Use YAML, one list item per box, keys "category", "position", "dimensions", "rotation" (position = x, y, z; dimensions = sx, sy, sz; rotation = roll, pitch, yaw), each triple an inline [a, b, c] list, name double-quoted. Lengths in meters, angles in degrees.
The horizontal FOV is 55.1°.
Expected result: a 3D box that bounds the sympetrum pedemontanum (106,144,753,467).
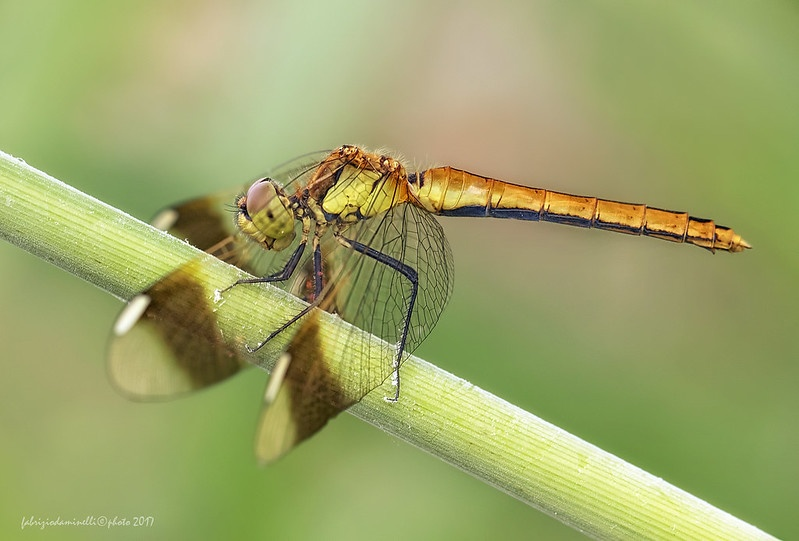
- category: "sympetrum pedemontanum"
  position: [-0.162, -0.237, 5.576]
  dimensions: [3.814, 1.382, 3.376]
  rotation: [-10, 30, -32]
